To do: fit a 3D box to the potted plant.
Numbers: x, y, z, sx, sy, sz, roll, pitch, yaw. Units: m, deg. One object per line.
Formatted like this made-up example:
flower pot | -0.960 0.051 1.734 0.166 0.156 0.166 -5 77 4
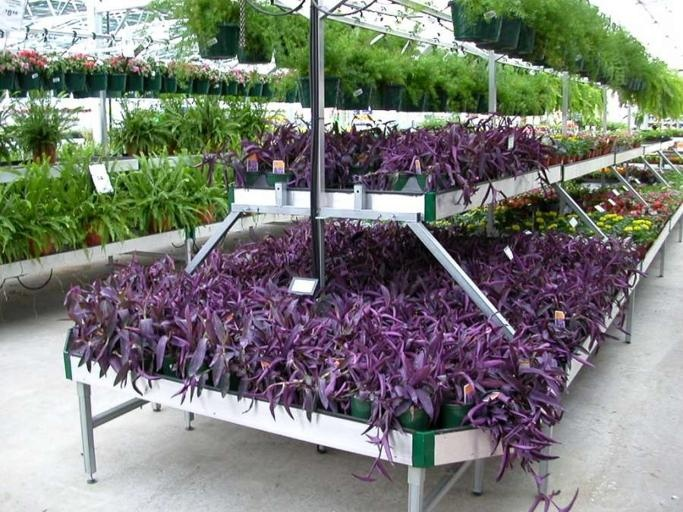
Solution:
potted plant | -0.078 -0.110 3.740 1.707 1.916 3.464 4 11 25
